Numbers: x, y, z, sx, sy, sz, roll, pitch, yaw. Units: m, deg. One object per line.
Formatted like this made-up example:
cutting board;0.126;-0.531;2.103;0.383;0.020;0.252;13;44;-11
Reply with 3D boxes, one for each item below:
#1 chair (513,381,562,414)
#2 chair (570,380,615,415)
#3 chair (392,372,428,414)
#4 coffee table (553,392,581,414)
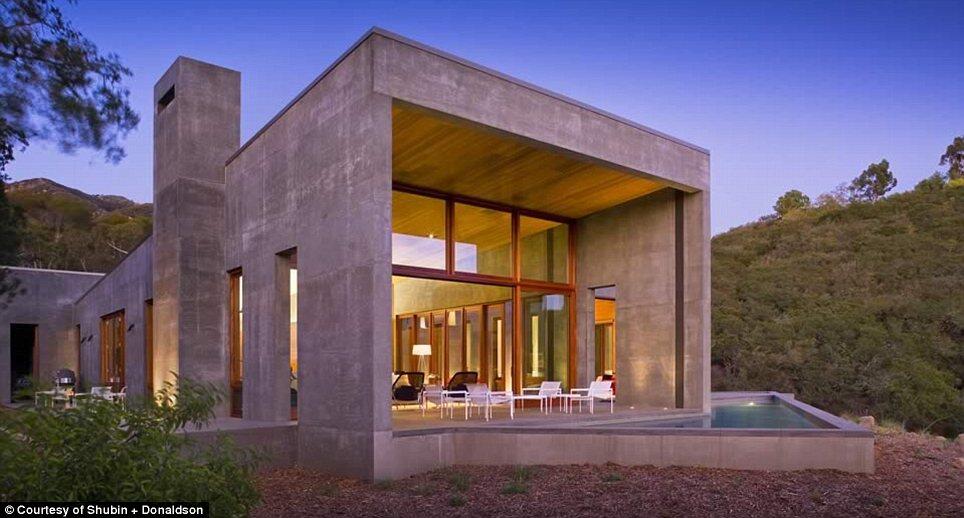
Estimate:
chair;2.181;4.873;24.577;1.653;0.974;1.238;6;-11;-37
chair;4.145;4.889;24.809;1.562;1.072;1.176;8;-13;-36
chair;-2.596;4.764;25.341;1.332;1.507;1.379;2;-31;-5
coffee table;3.145;5.189;25.266;0.913;0.863;1.206;1;-4;-20
